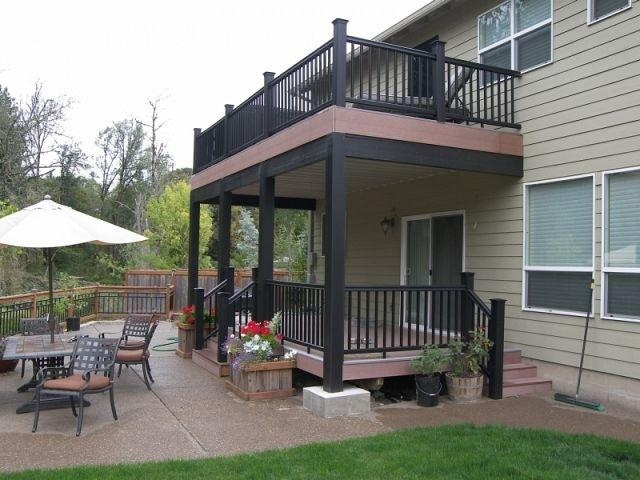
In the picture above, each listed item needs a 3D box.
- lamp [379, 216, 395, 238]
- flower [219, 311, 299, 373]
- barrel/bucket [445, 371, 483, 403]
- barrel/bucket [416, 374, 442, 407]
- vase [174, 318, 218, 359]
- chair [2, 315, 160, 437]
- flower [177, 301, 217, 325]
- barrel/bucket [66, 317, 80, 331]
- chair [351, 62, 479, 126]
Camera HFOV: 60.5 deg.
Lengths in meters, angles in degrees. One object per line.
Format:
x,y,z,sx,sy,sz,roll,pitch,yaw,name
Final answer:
1.475,-0.320,12.225,0.155,0.410,0.547,-2,3,-22,lamp
-1.078,1.528,9.128,0.989,0.793,1.012,1,3,-19,flower
2.243,2.318,8.656,0.408,0.299,0.441,0,-7,0,barrel/bucket
1.667,2.296,8.421,0.427,0.405,0.437,0,-8,0,barrel/bucket
-2.605,2.107,11.738,0.733,0.887,0.844,4,1,-29,vase
-3.590,1.989,8.455,1.283,1.138,1.769,-1,-6,4,chair
-2.633,1.600,11.822,0.839,0.446,0.668,0,3,-5,flower
-6.788,2.293,15.057,0.351,0.397,0.333,2,1,0,barrel/bucket
1.744,-2.574,9.460,2.190,1.153,1.553,2,3,-30,chair
